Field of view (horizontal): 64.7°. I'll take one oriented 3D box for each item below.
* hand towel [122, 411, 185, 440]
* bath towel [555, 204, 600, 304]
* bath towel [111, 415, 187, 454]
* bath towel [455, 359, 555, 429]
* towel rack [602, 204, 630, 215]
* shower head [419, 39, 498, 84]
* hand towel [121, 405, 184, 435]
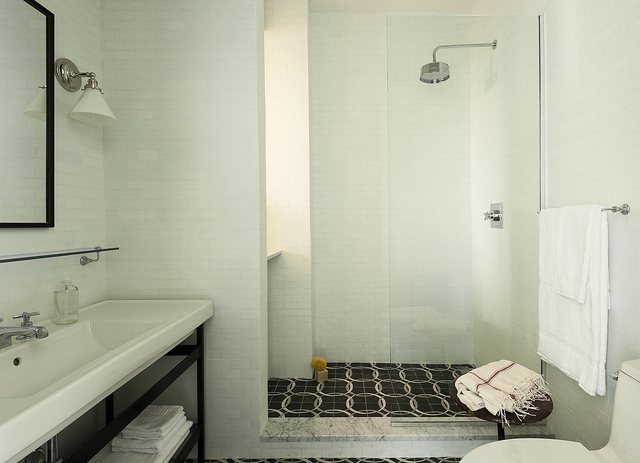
[{"bbox_3d":[-0.942,1.089,2.821,0.309,0.073,0.303,-1,-6,0],"label":"hand towel"},{"bbox_3d":[1.436,0.143,3.008,0.390,0.630,0.093,8,-8,-21],"label":"bath towel"},{"bbox_3d":[-0.970,1.137,2.931,0.383,0.116,0.497,0,0,6],"label":"bath towel"},{"bbox_3d":[1.102,0.951,3.124,0.562,0.159,0.587,-1,18,6],"label":"bath towel"},{"bbox_3d":[1.654,-0.119,2.808,0.043,0.044,0.125,-3,4,-12],"label":"towel rack"},{"bbox_3d":[0.950,-1.169,3.460,0.497,0.258,0.192,0,-5,9],"label":"shower head"},{"bbox_3d":[-0.950,1.079,2.907,0.204,0.053,0.193,0,3,9],"label":"hand towel"}]
